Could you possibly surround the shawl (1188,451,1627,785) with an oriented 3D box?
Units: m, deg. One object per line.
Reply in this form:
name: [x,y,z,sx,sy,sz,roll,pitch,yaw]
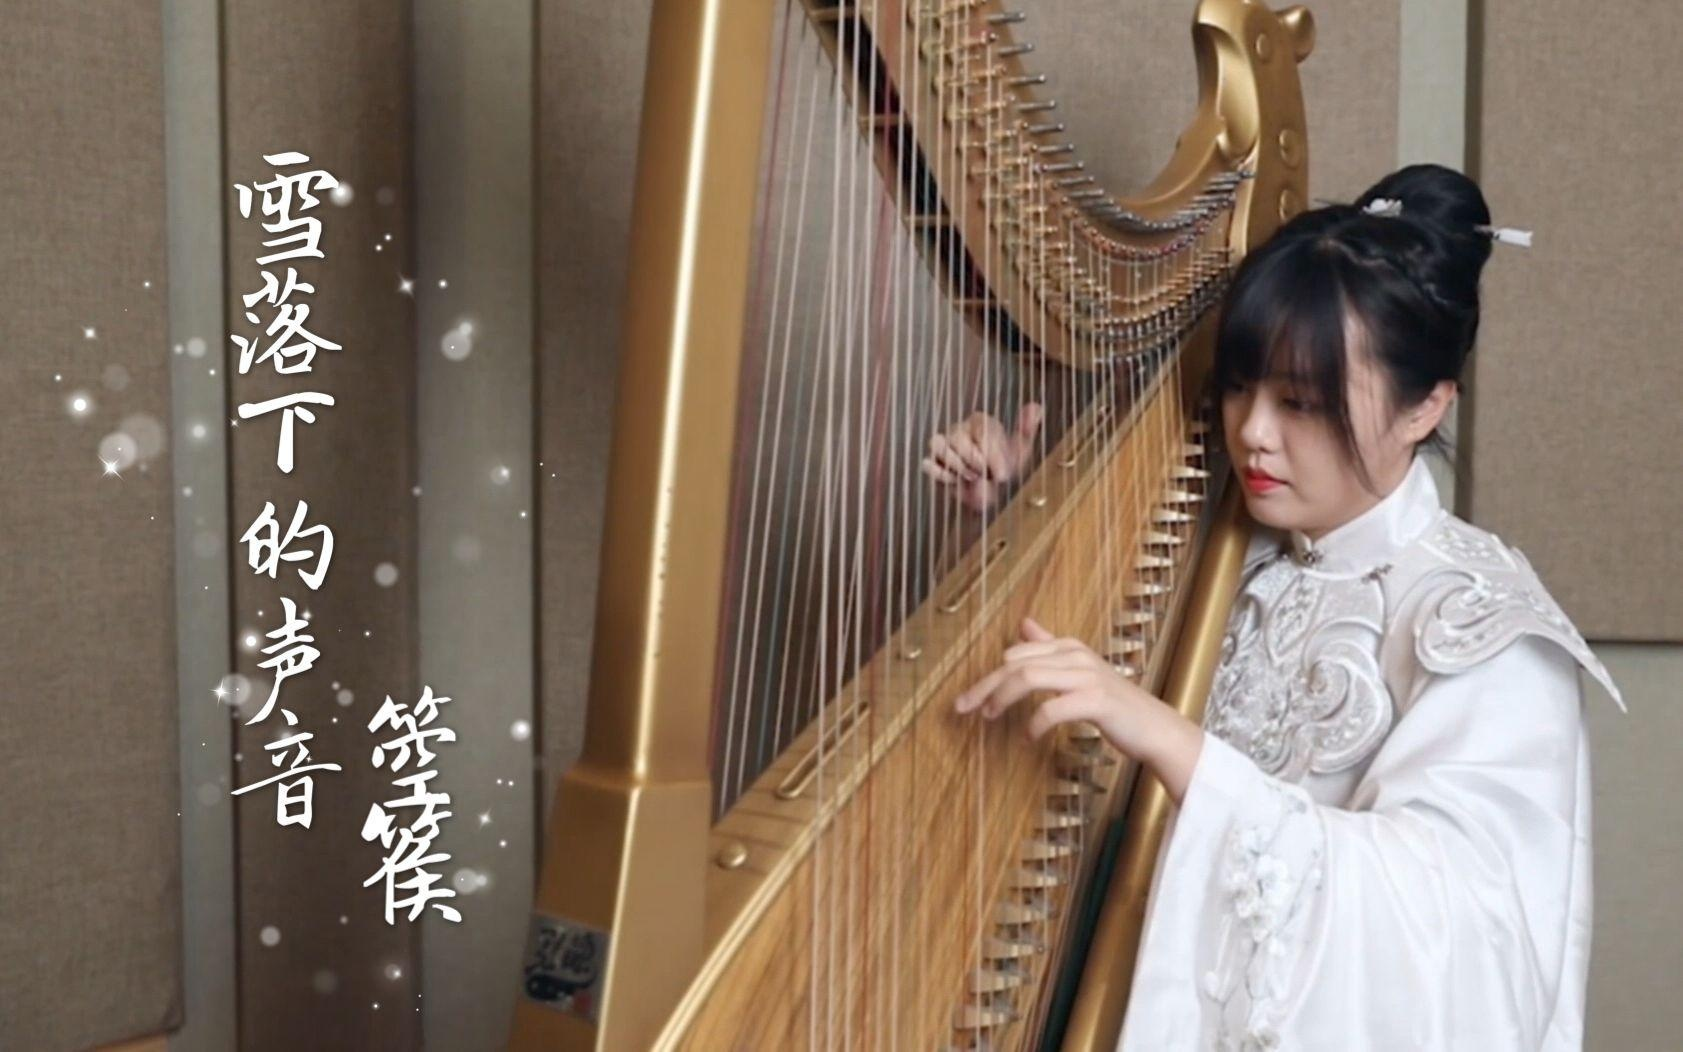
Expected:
shawl: [0.665,0.136,2.052,0.362,0.416,0.562,6,1,-31]
